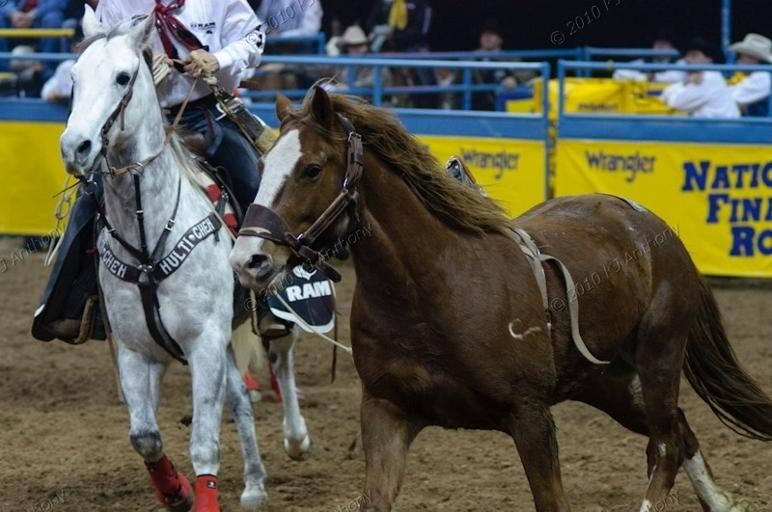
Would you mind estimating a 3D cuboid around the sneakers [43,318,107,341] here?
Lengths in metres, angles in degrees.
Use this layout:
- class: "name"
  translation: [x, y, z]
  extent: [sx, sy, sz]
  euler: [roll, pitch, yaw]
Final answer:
- class: "sneakers"
  translation: [-2.532, 0.597, 13.397]
  extent: [0.233, 0.118, 0.302]
  euler: [-3, -13, 21]

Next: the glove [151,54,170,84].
- class: "glove"
  translation: [-1.820, -1.539, 13.208]
  extent: [0.165, 0.216, 0.087]
  euler: [12, -12, 14]
